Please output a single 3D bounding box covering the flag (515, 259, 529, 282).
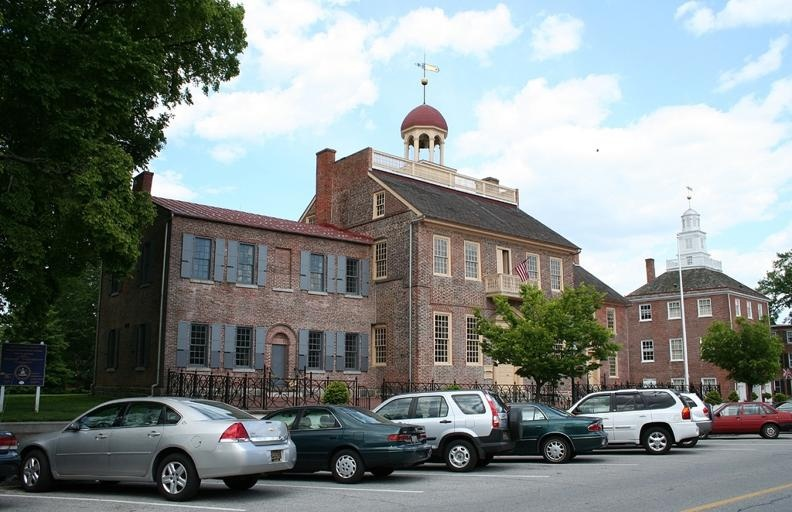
[{"bbox_3d":[7.711,0.871,45.876,0.138,0.930,1.376,-4,4,-21],"label":"flag"}]

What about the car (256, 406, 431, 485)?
[{"bbox_3d":[-1.341,5.704,23.105,5.042,1.471,2.260,-2,-9,27],"label":"car"}]

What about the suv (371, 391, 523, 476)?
[{"bbox_3d":[1.790,5.681,25.275,4.667,1.838,2.337,0,-8,16],"label":"suv"}]

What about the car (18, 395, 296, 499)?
[{"bbox_3d":[-6.854,5.342,20.842,7.106,2.796,1.033,-4,-16,10],"label":"car"}]

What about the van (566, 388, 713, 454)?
[{"bbox_3d":[9.543,6.282,29.106,5.031,1.830,2.378,0,-8,14],"label":"van"}]
